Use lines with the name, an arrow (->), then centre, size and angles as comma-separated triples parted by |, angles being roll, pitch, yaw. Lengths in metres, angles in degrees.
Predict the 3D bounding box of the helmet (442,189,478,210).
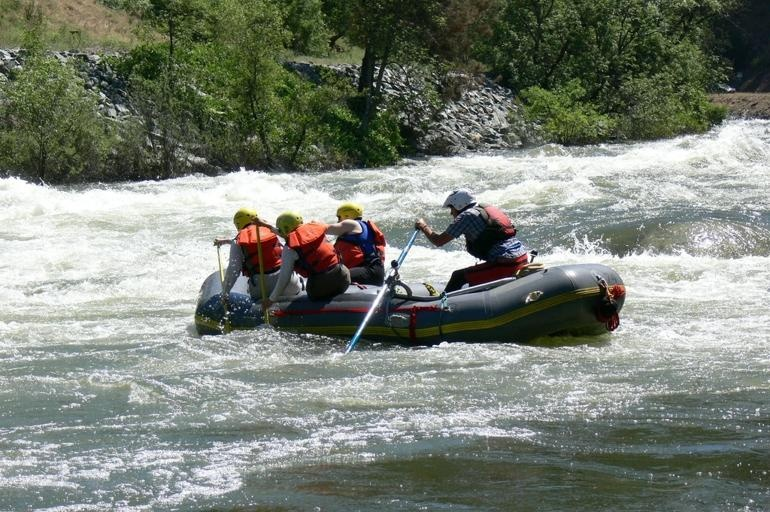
helmet -> 1.846, -1.387, 30.898 | 0.763, 0.336, 0.473 | 3, -2, 9

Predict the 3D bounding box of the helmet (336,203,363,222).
helmet -> -0.808, -1.105, 31.429 | 0.586, 0.397, 0.410 | 6, 5, 24
